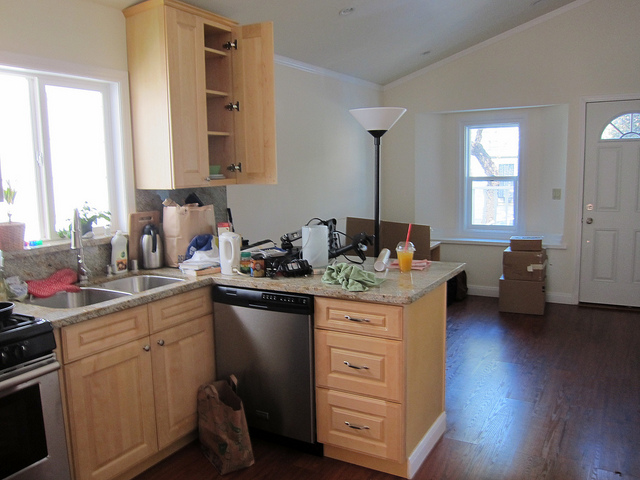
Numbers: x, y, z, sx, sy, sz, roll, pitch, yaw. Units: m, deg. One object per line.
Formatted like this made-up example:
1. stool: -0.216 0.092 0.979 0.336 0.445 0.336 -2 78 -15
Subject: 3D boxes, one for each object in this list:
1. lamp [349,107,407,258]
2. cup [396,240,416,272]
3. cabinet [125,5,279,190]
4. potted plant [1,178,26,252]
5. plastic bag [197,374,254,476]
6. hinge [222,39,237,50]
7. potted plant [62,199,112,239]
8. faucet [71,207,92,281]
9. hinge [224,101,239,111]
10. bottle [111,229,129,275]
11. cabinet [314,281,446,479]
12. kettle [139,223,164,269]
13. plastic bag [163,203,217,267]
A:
1. lamp: 0.520 -0.502 4.127 0.437 1.312 0.979 0 11 7
2. cup: 0.563 0.112 3.041 0.128 0.189 0.129 -2 -1 0
3. cabinet: -0.838 -1.001 3.258 0.719 1.476 1.082 7 12 32
4. potted plant: -1.812 -0.150 2.764 0.117 0.405 0.226 -7 12 -28
5. plastic bag: -0.581 1.105 3.000 0.315 0.556 0.550 -9 17 -33
6. hinge: -0.637 -1.408 3.379 0.073 0.069 0.037 1 4 5
7. potted plant: -1.549 -0.144 3.138 0.227 0.167 0.235 1 5 8
8. faucet: -1.545 0.022 3.020 0.100 0.466 0.243 -7 12 -26
9. hinge: -0.627 -0.978 3.421 0.067 0.045 0.060 1 6 7
10. bottle: -1.342 0.088 3.173 0.087 0.275 0.142 3 12 24
11. cabinet: 0.366 0.791 3.157 0.759 1.403 1.026 2 4 29
12. kettle: -1.175 0.053 3.263 0.160 0.303 0.087 -6 12 -23
13. plastic bag: -0.928 -0.020 3.300 0.160 0.403 0.391 4 9 33
